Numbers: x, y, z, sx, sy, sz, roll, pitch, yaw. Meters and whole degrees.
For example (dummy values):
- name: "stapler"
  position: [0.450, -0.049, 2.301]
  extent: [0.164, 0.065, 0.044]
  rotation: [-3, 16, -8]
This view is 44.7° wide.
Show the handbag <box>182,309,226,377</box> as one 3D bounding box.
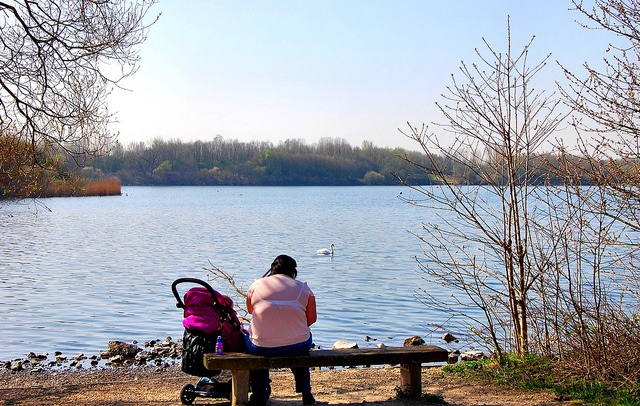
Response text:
- name: "handbag"
  position: [-2.345, 2.817, 15.767]
  extent: [1.021, 1.511, 0.758]
  rotation: [7, -9, -7]

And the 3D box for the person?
- name: "person"
  position: [-0.792, 2.611, 15.596]
  extent: [1.386, 3.054, 0.534]
  rotation: [-1, 6, -7]
